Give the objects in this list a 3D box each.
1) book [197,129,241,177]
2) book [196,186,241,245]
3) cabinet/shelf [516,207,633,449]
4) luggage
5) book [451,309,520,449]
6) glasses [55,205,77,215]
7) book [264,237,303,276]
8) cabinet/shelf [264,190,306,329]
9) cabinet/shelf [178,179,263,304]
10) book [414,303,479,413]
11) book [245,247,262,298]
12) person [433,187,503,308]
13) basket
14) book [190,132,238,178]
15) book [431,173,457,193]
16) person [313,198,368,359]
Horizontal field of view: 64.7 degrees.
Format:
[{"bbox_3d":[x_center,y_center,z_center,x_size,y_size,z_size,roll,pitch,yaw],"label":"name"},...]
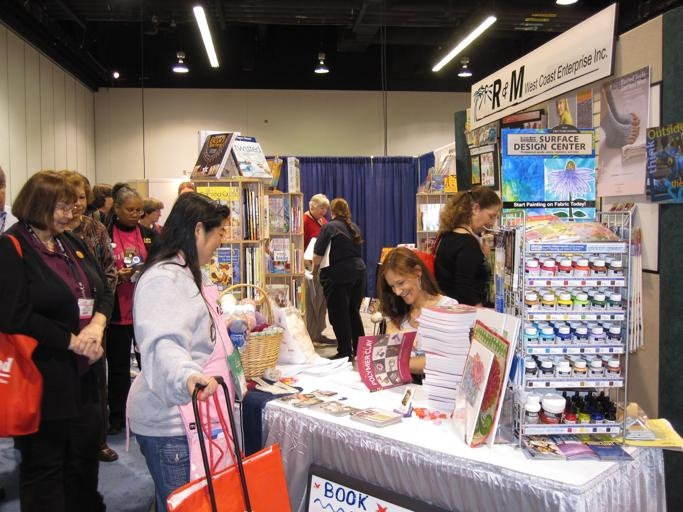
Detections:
[{"bbox_3d":[-1.028,-0.849,4.489,0.374,0.424,0.097,4,-19,32],"label":"book"},{"bbox_3d":[-0.969,-0.319,4.493,0.330,0.492,0.255,-1,-16,-6],"label":"book"},{"bbox_3d":[1.029,0.306,2.503,0.487,0.938,0.561,3,-4,-4],"label":"cabinet/shelf"},{"bbox_3d":[-0.350,0.834,2.842,0.284,0.288,0.278,2,-2,-43],"label":"luggage"},{"bbox_3d":[0.634,0.545,2.370,0.058,0.599,0.496,13,5,-10],"label":"book"},{"bbox_3d":[-1.447,-0.251,2.862,0.108,0.037,0.112,-2,4,12],"label":"glasses"},{"bbox_3d":[-0.726,-0.017,6.904,0.499,0.445,0.306,-6,14,-22],"label":"book"},{"bbox_3d":[-0.730,-0.296,7.077,0.468,1.111,0.344,-1,-23,-8],"label":"cabinet/shelf"},{"bbox_3d":[-0.960,-0.034,4.650,0.603,1.138,0.641,4,-29,-18],"label":"cabinet/shelf"},{"bbox_3d":[0.488,0.500,2.716,0.151,0.469,0.351,5,2,12],"label":"book"},{"bbox_3d":[-0.705,0.107,4.372,0.170,0.386,0.379,0,3,-7],"label":"book"},{"bbox_3d":[0.913,0.197,3.853,0.392,1.331,0.536,-1,17,13],"label":"person"},{"bbox_3d":[-0.471,0.425,3.120,0.324,0.444,0.348,-4,-5,9],"label":"basket"},{"bbox_3d":[-1.081,-0.848,4.531,0.391,0.355,0.489,-11,16,-36],"label":"book"},{"bbox_3d":[1.451,-1.056,7.756,0.484,0.364,0.281,2,5,14],"label":"book"},{"bbox_3d":[-0.021,0.271,6.053,0.567,1.752,0.722,-2,12,-3],"label":"person"}]
